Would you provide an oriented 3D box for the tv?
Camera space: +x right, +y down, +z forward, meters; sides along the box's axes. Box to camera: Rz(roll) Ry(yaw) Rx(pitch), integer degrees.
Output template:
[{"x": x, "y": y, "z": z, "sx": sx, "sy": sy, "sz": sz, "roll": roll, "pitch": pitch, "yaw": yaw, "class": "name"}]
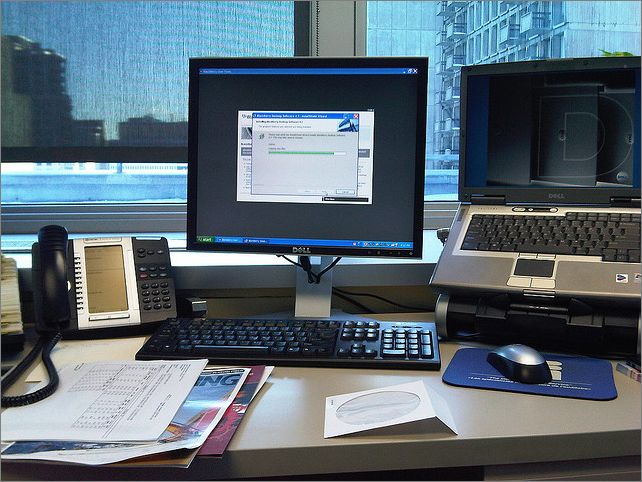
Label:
[{"x": -0.034, "y": -0.141, "z": 1.273, "sx": 0.752, "sy": 0.719, "sz": 0.252, "roll": 1, "pitch": 1, "yaw": 3, "class": "tv"}]
